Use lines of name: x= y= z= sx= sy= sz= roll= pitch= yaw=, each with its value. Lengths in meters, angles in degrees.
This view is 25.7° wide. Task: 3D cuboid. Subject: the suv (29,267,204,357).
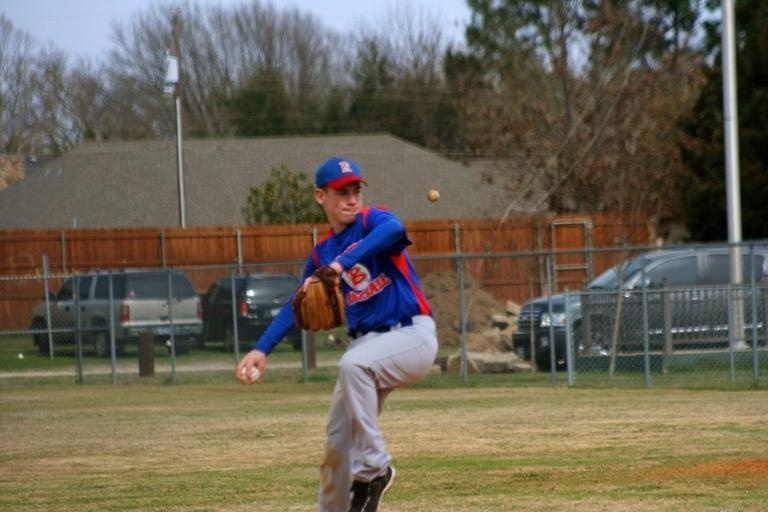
suv: x=-7.761 y=1.722 z=48.670 sx=5.145 sy=2.472 sz=1.537 roll=-6 pitch=-6 yaw=28
